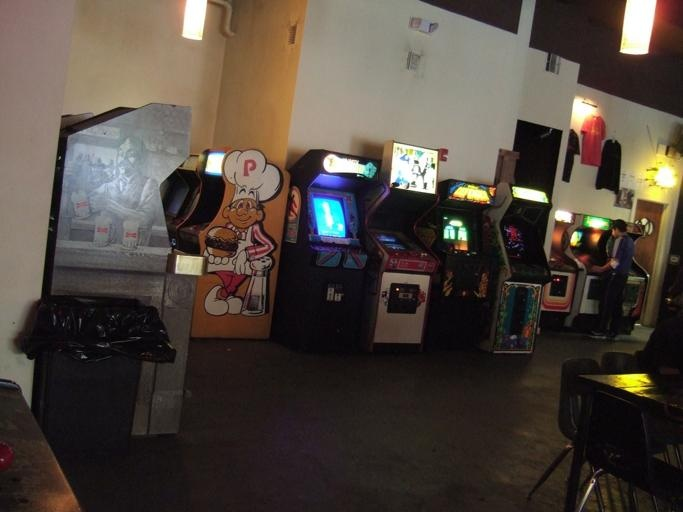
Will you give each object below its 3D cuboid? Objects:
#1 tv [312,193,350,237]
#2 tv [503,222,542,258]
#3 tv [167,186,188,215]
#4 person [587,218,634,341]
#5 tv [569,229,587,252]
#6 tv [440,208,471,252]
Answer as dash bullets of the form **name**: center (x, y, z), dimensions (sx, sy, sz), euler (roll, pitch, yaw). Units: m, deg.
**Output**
- **tv**: center (-0.128, -0.391, 5.275), dimensions (0.378, 0.489, 0.051), euler (5, -17, -37)
- **tv**: center (2.153, -0.176, 6.306), dimensions (0.236, 0.261, 0.457), euler (-8, -40, 32)
- **tv**: center (-2.068, -0.702, 6.631), dimensions (0.211, 0.344, 0.627), euler (3, 9, -24)
- **person**: center (3.980, 0.355, 7.733), dimensions (0.414, 1.756, 0.675), euler (10, 8, 37)
- **tv**: center (3.655, -0.259, 8.163), dimensions (0.358, 0.304, 0.051), euler (1, 8, -33)
- **tv**: center (1.263, -0.237, 5.950), dimensions (0.403, 0.447, 0.230), euler (4, -14, -6)
